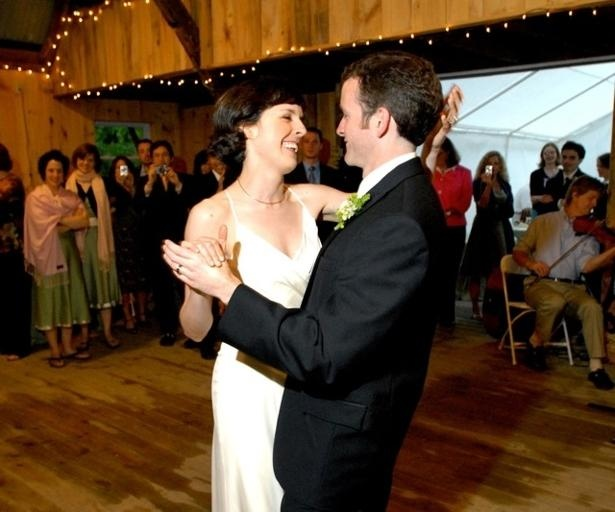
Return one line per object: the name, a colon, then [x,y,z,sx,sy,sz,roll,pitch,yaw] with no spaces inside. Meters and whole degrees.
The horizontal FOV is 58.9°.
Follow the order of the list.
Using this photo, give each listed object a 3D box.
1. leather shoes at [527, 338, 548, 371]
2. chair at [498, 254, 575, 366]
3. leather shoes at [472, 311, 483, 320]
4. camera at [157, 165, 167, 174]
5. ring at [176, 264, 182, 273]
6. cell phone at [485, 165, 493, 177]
leather shoes: [2.134,0.945,5.084,0.119,0.153,0.363,1,48,9]
chair: [2.222,0.526,5.428,0.649,0.983,0.833,5,5,19]
leather shoes: [2.137,0.759,6.870,0.096,0.124,0.282,-1,-9,10]
camera: [-1.543,-0.905,5.780,0.084,0.096,0.033,-3,-13,9]
ring: [-0.341,0.034,1.448,0.017,0.019,0.007,4,-2,11]
cell phone: [2.261,-1.065,6.803,0.031,0.121,0.120,9,-3,-35]
